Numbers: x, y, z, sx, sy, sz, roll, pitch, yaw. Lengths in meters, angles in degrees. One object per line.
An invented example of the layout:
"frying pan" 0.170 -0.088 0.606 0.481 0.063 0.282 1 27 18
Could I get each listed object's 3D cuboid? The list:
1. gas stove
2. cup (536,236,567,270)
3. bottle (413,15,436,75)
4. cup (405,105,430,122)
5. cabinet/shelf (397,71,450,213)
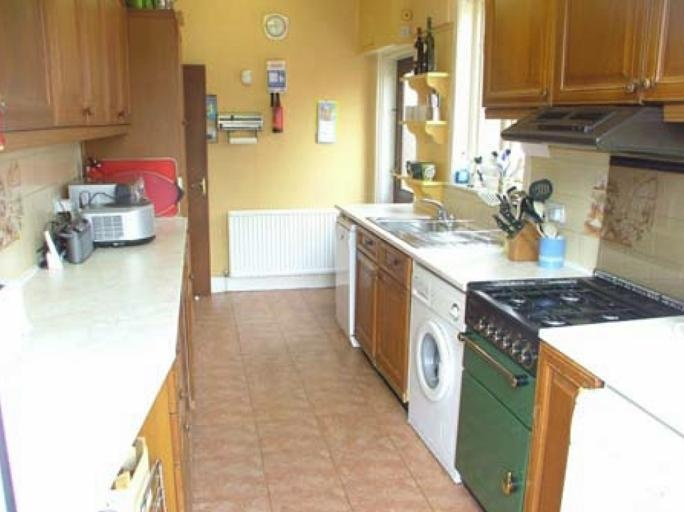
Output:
"gas stove" 0.987 0.188 2.345 0.715 0.035 0.549 -4 16 -13
"cup" 1.076 -0.019 2.817 0.146 0.177 0.151 -1 8 0
"bottle" 0.661 -1.645 4.231 0.156 0.424 0.337 2 16 8
"cup" 0.606 -1.133 4.276 0.093 0.120 0.234 -6 17 -25
"cabinet/shelf" 0.649 -0.901 4.320 0.266 1.082 0.655 -3 16 -10
